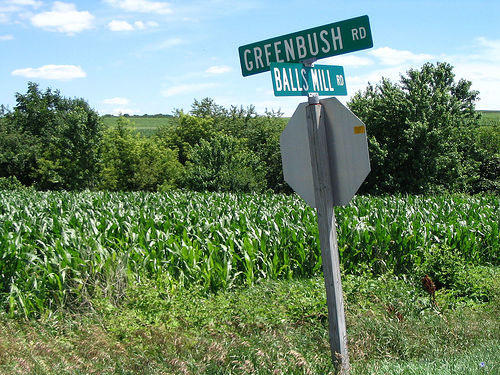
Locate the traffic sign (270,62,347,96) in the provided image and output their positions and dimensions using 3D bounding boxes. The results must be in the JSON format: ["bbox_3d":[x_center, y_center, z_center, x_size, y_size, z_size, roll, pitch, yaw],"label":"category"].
[{"bbox_3d":[0.706,-1.333,6.324,1.049,0.386,0.119,-6,5,-28],"label":"traffic sign"}]
